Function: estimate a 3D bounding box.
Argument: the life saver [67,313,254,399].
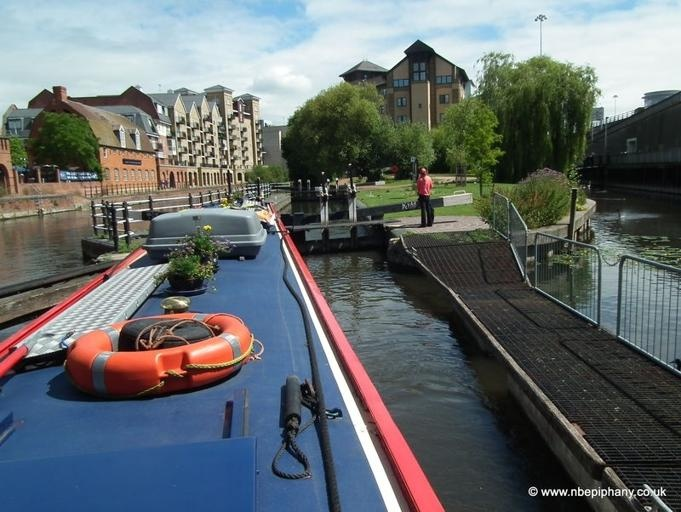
[{"bbox_3d":[-1.513,0.807,4.465,1.500,0.362,1.543,-3,6,-6],"label":"life saver"}]
